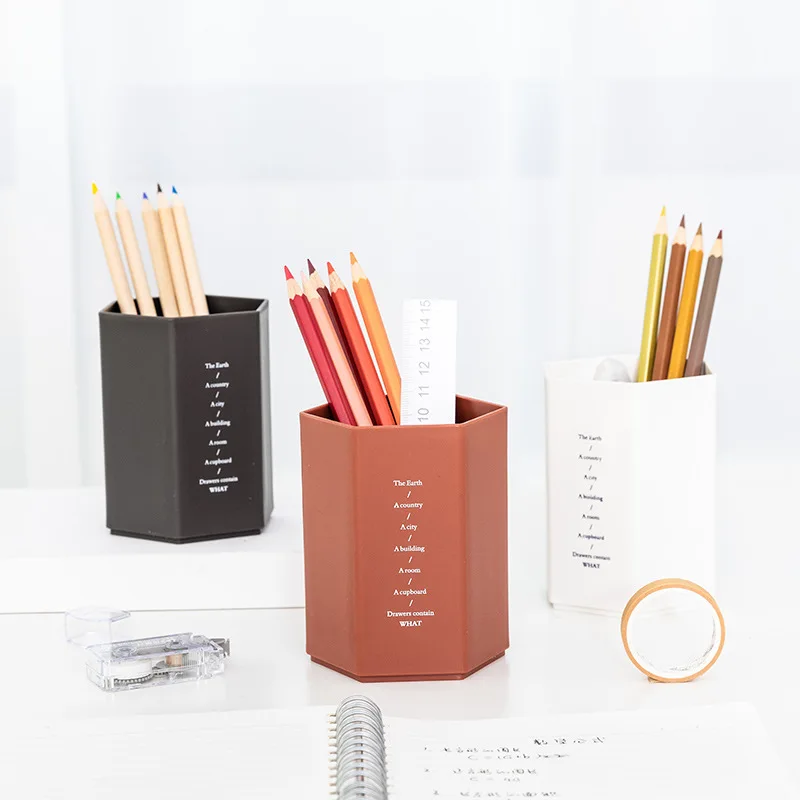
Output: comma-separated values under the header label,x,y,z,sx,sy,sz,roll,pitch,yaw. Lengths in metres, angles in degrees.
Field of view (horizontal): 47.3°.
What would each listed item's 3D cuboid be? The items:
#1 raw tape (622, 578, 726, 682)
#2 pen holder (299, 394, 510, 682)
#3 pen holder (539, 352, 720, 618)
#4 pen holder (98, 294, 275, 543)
label,x,y,z,sx,sy,sz,roll,pitch,yaw
raw tape,0.158,0.119,0.524,0.051,0.056,0.118,2,8,20
pen holder,0.006,0.078,0.540,0.115,0.170,0.129,4,8,40
pen holder,0.126,0.042,0.612,0.125,0.206,0.123,-2,4,-9
pen holder,-0.140,0.010,0.631,0.092,0.163,0.108,6,9,41
